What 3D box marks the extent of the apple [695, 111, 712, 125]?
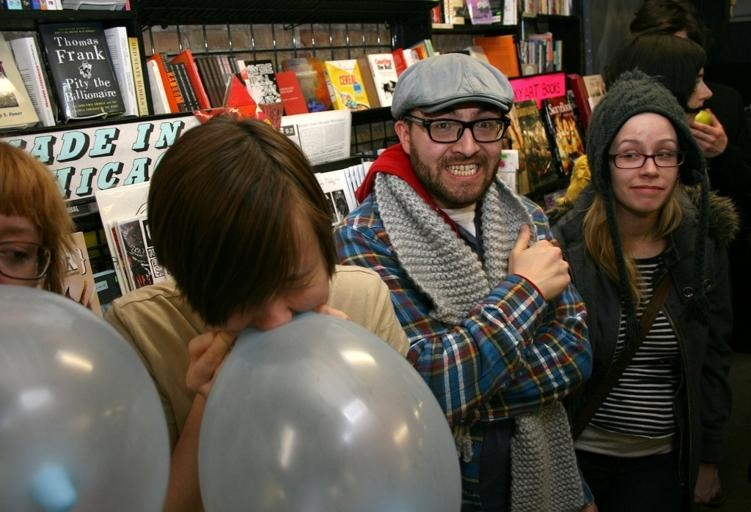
[{"bbox_3d":[1.840,-0.768,2.908,0.069,0.078,0.088,1,-23,9],"label":"apple"}]
